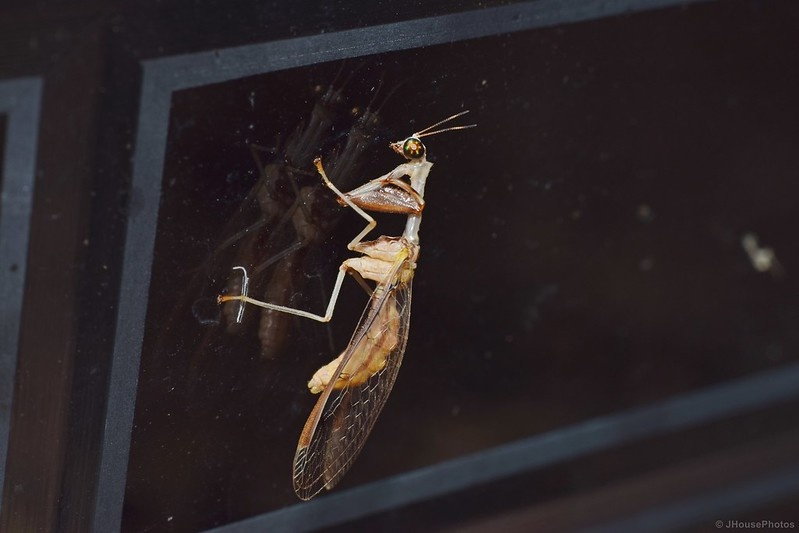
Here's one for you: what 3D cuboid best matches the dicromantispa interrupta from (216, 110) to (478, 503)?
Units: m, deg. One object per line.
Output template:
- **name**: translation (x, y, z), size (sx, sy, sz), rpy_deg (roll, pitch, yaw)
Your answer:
- **dicromantispa interrupta**: translation (-0.101, 0.078, 2.438), size (0.488, 0.995, 0.148), rpy_deg (3, -6, 17)
